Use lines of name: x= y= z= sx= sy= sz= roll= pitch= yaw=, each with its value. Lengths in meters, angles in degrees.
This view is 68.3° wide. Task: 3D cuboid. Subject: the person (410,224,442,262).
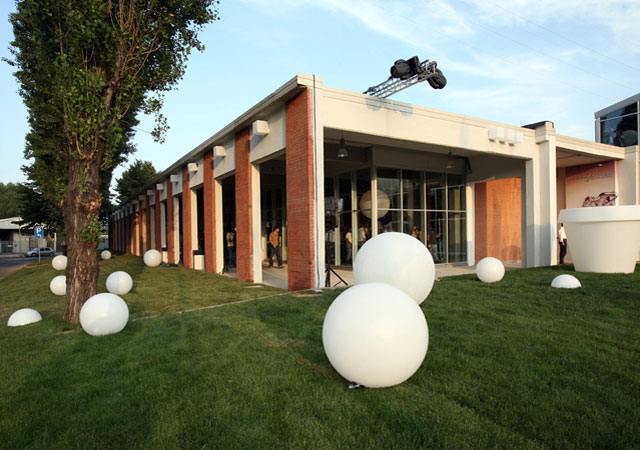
person: x=5.044 y=0.895 z=21.608 sx=1.795 sy=1.715 sz=0.358 roll=2 pitch=-3 yaw=-44

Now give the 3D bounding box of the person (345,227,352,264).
person: x=1.350 y=0.928 z=21.037 sx=0.129 sy=1.484 sz=0.492 roll=1 pitch=-2 yaw=-34

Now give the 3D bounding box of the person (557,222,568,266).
person: x=11.836 y=0.841 z=22.644 sx=0.333 sy=1.916 sz=0.968 roll=-1 pitch=-2 yaw=27

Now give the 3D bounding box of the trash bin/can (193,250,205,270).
trash bin/can: x=-6.179 y=1.762 z=23.846 sx=0.679 sy=1.154 sz=0.799 roll=1 pitch=1 yaw=-30

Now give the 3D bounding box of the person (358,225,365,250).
person: x=1.905 y=0.464 z=20.435 sx=0.132 sy=0.898 sz=0.534 roll=1 pitch=-2 yaw=-29
